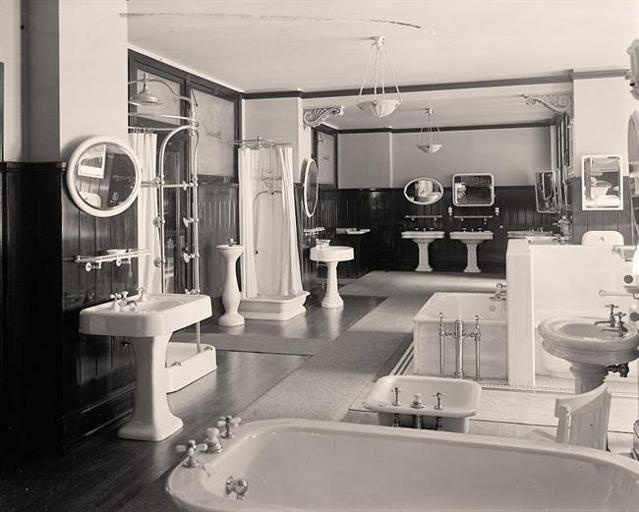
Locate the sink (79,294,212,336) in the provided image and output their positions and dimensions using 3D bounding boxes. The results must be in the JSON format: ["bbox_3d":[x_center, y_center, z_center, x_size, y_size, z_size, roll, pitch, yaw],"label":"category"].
[{"bbox_3d":[-1.296,0.436,3.991,0.399,0.124,0.519,2,2,16],"label":"sink"}]

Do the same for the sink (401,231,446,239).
[{"bbox_3d":[2.300,-0.451,12.556,0.957,0.215,0.380,1,7,12],"label":"sink"}]

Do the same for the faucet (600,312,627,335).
[{"bbox_3d":[1.821,0.450,3.482,0.162,0.109,0.251,1,8,27],"label":"faucet"}]

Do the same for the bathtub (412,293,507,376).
[{"bbox_3d":[1.394,0.820,5.603,0.716,0.431,1.017,2,3,11],"label":"bathtub"}]

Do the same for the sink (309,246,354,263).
[{"bbox_3d":[0.177,-0.021,8.884,0.666,0.246,0.522,-1,7,-2],"label":"sink"}]

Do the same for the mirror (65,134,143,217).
[{"bbox_3d":[-1.595,-0.593,4.221,0.725,0.621,0.037,10,2,23],"label":"mirror"}]
